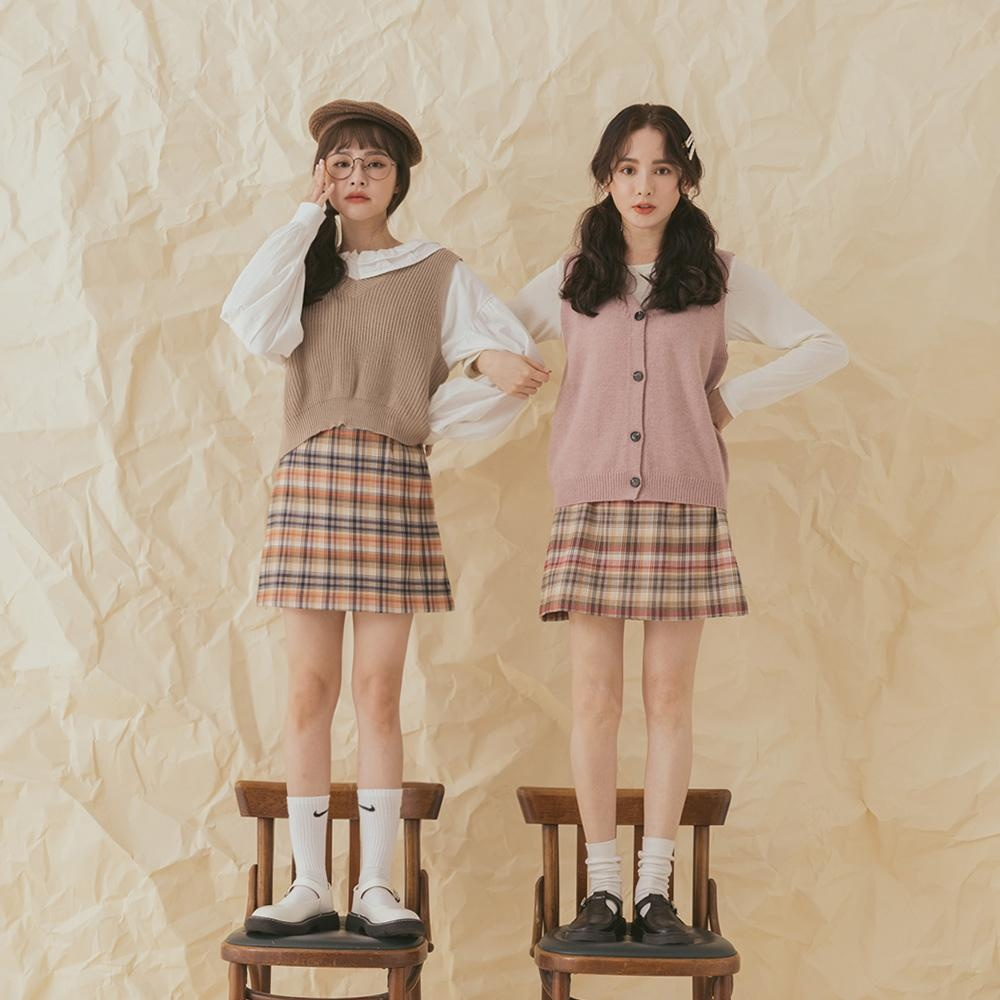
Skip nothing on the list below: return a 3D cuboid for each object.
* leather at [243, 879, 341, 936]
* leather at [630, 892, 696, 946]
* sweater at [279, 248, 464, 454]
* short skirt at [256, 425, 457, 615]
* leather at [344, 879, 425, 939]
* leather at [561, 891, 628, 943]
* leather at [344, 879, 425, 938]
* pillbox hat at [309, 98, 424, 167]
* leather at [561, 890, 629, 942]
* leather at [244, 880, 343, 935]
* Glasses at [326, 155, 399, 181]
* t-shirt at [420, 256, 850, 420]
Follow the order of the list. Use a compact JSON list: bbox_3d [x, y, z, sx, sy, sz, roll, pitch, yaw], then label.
[{"bbox_3d":[-0.364,0.739,2.293,0.078,0.063,0.167,-13,-17,41],"label":"leather"},{"bbox_3d":[0.287,0.756,2.271,0.064,0.039,0.113,2,-9,-13],"label":"leather"},{"bbox_3d":[-0.230,-0.348,2.593,0.423,0.441,0.274,6,1,27],"label":"sweater"},{"bbox_3d":[-0.284,0.042,2.452,0.498,0.360,0.231,1,-8,-2],"label":"short skirt"},{"bbox_3d":[-0.206,0.745,2.286,0.068,0.061,0.169,5,-12,-29],"label":"leather"},{"bbox_3d":[0.160,0.753,2.275,0.063,0.046,0.122,-2,-9,16],"label":"leather"},{"bbox_3d":[-0.220,0.746,2.314,0.096,0.063,0.183,-6,3,-36],"label":"leather"},{"bbox_3d":[-0.296,-0.745,2.599,0.200,0.059,0.223,-13,-18,35],"label":"pillbox hat"},{"bbox_3d":[0.172,0.753,2.288,0.064,0.045,0.121,-2,-8,16],"label":"leather"},{"bbox_3d":[-0.361,0.737,2.292,0.078,0.063,0.167,-12,-16,41],"label":"leather"},{"bbox_3d":[-0.278,-0.660,2.510,0.079,0.020,0.070,-1,-6,-3],"label":"Glasses"},{"bbox_3d":[0.237,-0.291,2.514,0.980,0.376,0.196,-5,38,-4],"label":"t-shirt"}]
